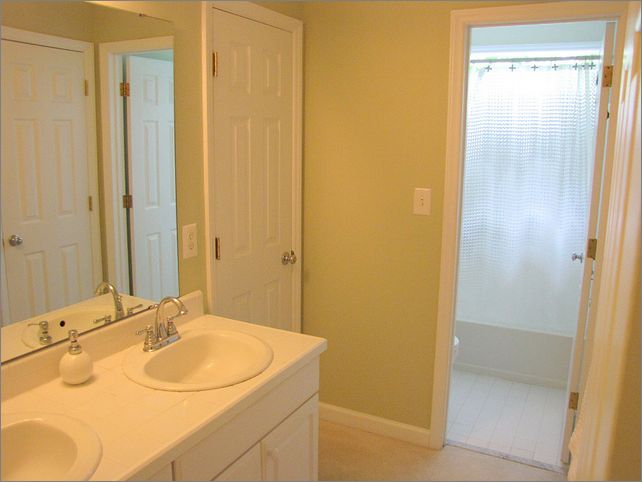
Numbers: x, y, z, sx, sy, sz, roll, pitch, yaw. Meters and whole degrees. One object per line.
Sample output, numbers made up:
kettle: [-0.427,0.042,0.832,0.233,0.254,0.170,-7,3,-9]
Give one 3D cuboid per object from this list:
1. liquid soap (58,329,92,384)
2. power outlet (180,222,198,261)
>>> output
liquid soap: [-0.753,0.357,1.512,0.088,0.163,0.049,-4,15,-27]
power outlet: [-0.559,-0.003,2.084,0.016,0.174,0.140,1,5,21]
